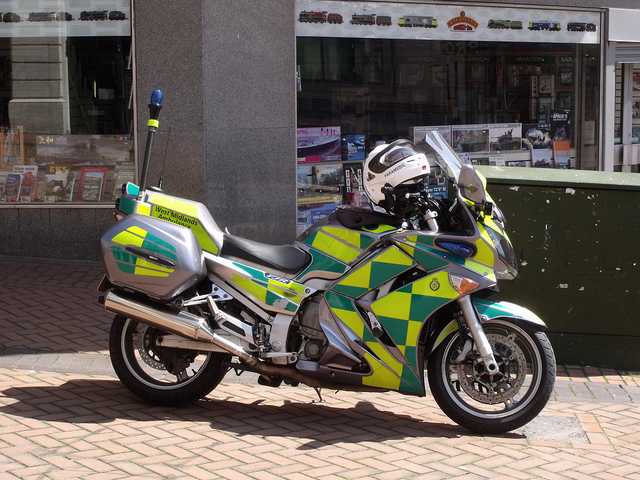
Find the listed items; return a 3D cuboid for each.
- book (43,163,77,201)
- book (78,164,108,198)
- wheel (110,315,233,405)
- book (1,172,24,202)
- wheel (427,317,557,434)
[{"bbox_3d":[-3.690,-0.801,9.281,0.534,0.615,0.051,2,-21,-1],"label":"book"},{"bbox_3d":[-3.201,-0.822,9.257,0.472,0.546,0.046,3,-12,3],"label":"book"},{"bbox_3d":[-1.094,0.869,4.795,0.721,0.689,0.140,5,2,6],"label":"wheel"},{"bbox_3d":[-4.384,-0.764,9.325,0.275,0.388,0.156,5,10,13],"label":"book"},{"bbox_3d":[1.192,0.957,4.617,0.893,0.903,0.247,-1,-1,6],"label":"wheel"}]
